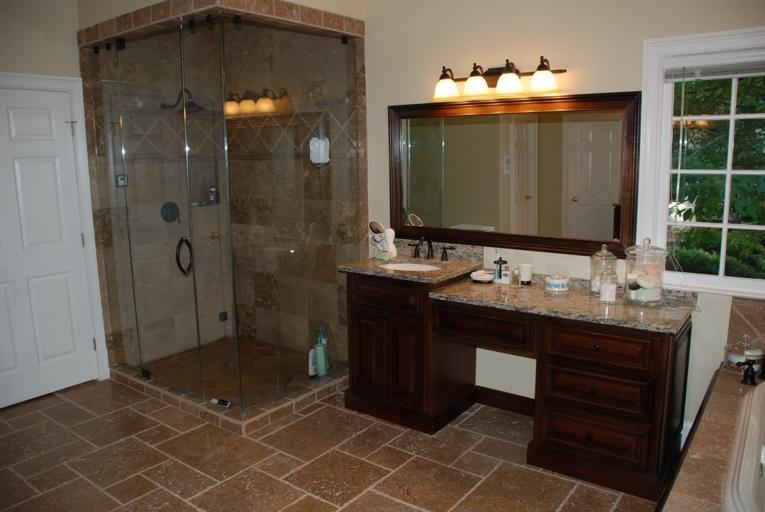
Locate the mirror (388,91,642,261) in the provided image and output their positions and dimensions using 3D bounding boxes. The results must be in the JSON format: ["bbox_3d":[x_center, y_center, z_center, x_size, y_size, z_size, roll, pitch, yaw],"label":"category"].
[{"bbox_3d":[1.009,-0.675,4.569,2.119,1.303,0.043,5,17,30],"label":"mirror"}]

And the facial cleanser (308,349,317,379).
[{"bbox_3d":[-0.658,0.993,5.039,0.052,0.265,0.121,8,16,34],"label":"facial cleanser"}]

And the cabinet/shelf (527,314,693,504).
[{"bbox_3d":[1.705,0.955,4.074,1.009,1.267,0.858,10,18,42],"label":"cabinet/shelf"}]

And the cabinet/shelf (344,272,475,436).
[{"bbox_3d":[0.268,0.719,4.853,1.049,1.297,0.902,3,6,32],"label":"cabinet/shelf"}]

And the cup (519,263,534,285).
[{"bbox_3d":[1.154,0.148,4.332,0.122,0.146,0.149,-7,9,-38],"label":"cup"}]

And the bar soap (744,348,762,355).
[{"bbox_3d":[2.651,0.682,3.854,0.065,0.016,0.065,1,8,20],"label":"bar soap"}]

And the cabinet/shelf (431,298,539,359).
[{"bbox_3d":[0.856,0.461,4.289,0.889,0.426,0.487,8,26,21],"label":"cabinet/shelf"}]

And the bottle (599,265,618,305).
[{"bbox_3d":[1.673,0.206,4.010,0.115,0.222,0.229,4,14,21],"label":"bottle"}]

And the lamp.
[{"bbox_3d":[0.927,-1.438,4.343,1.005,0.318,0.296,6,15,27],"label":"lamp"}]
